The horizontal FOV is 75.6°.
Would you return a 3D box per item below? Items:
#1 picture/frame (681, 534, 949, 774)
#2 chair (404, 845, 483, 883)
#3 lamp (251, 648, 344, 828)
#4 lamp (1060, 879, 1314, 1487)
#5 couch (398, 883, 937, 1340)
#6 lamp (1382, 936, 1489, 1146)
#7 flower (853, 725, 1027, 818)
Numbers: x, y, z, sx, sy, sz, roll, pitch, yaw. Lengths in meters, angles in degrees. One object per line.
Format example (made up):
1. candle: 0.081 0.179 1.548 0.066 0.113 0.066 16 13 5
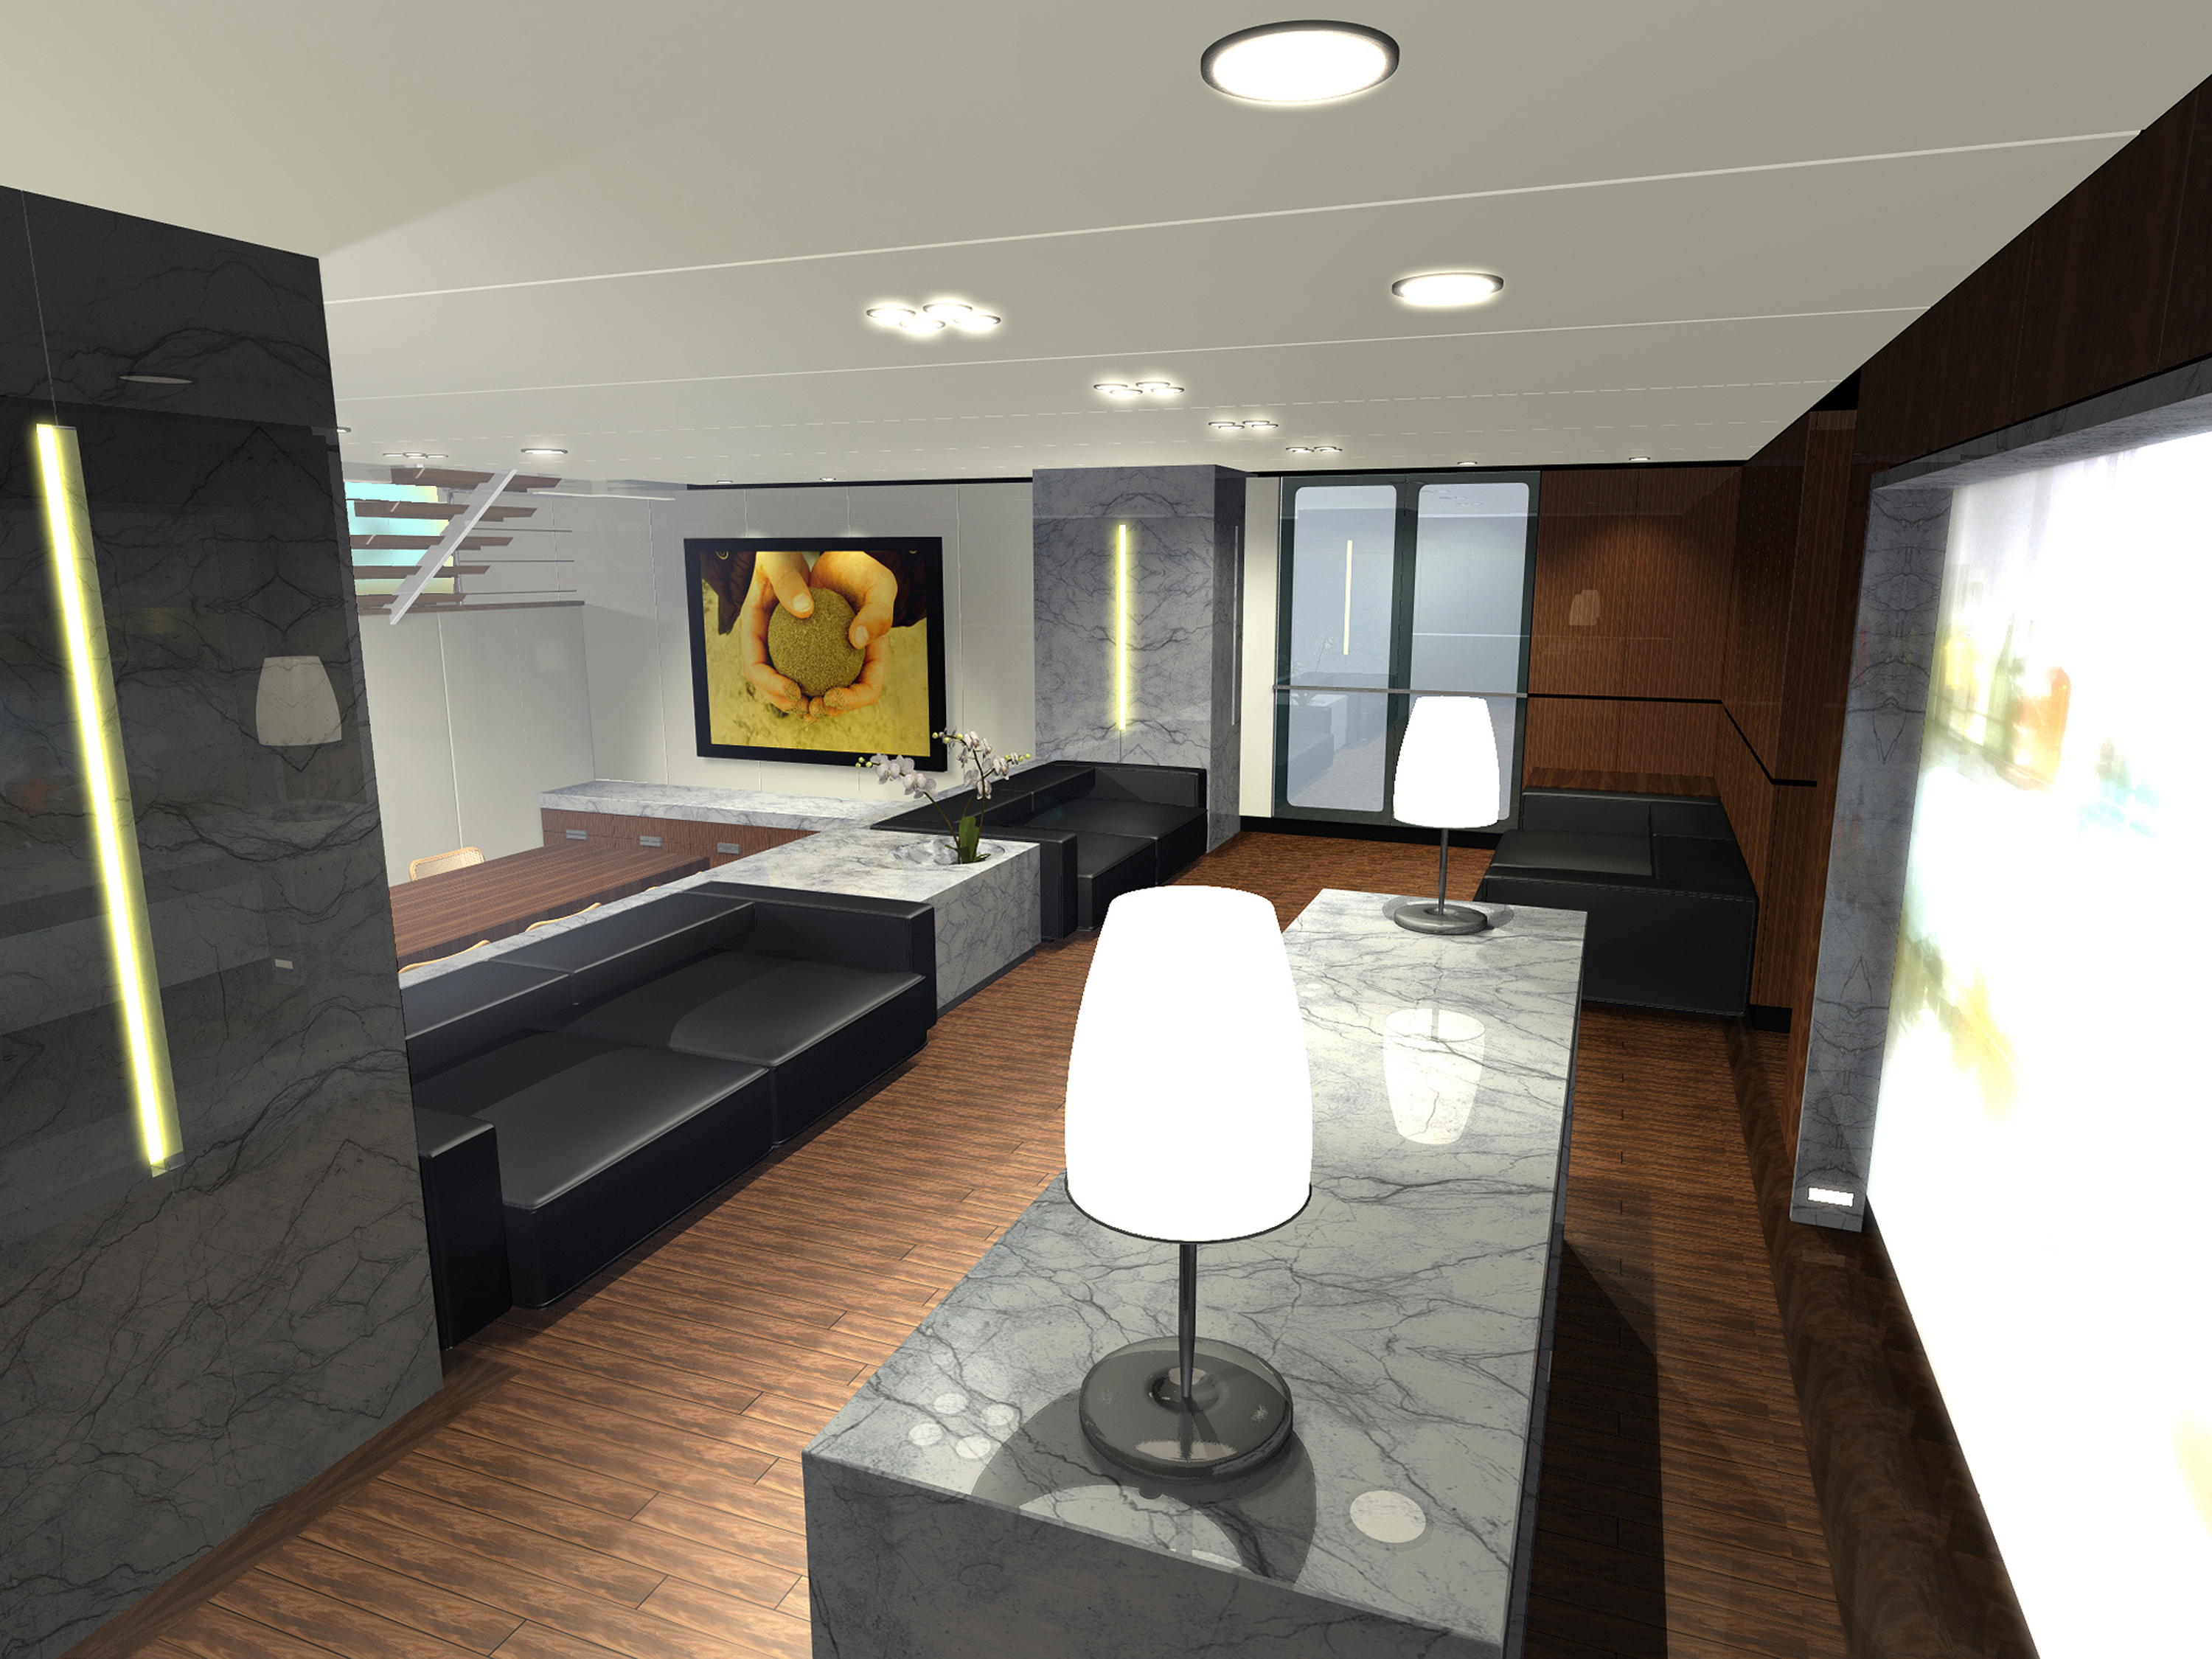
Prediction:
1. picture/frame: -2.030 -1.311 10.277 1.958 1.418 0.071 6 19 22
2. chair: -4.003 0.215 8.587 0.220 0.243 0.190 9 17 31
3. lamp: -1.832 -0.204 3.237 0.053 0.377 0.192 7 13 24
4. lamp: 0.127 0.520 2.226 0.378 0.891 0.308 3 12 7
5. couch: -1.678 0.807 4.721 1.082 0.580 2.072 4 14 19
6. lamp: 0.764 0.518 3.365 0.260 0.530 0.242 -12 17 -43
7. flower: -0.874 -0.264 8.583 0.814 0.169 0.754 8 15 34
